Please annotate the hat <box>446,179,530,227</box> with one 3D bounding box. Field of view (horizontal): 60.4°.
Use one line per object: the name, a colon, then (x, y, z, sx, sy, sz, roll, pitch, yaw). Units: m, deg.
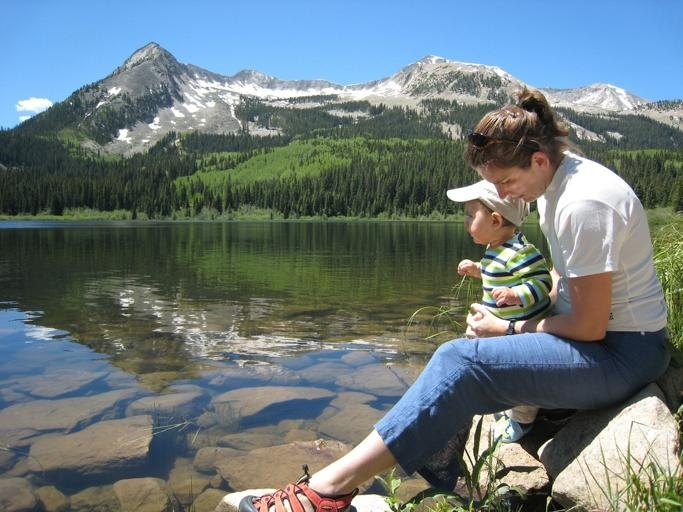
hat: (1.464, -0.484, 5.876, 0.696, 0.273, 0.461, 23, 2, 6)
